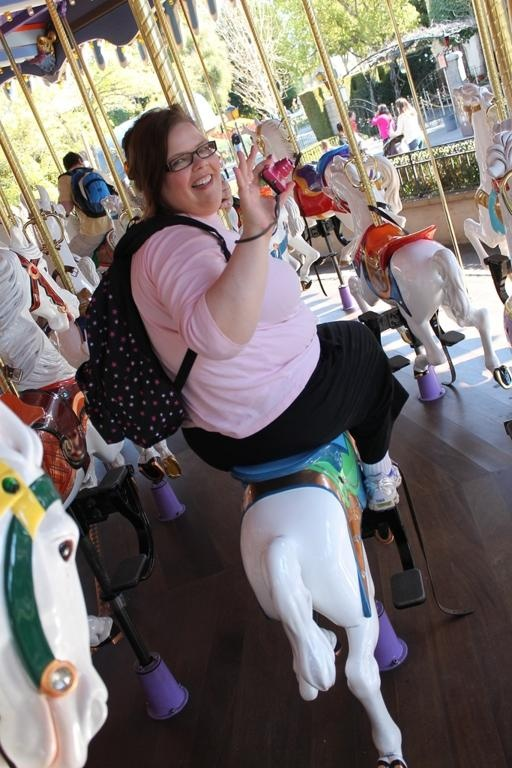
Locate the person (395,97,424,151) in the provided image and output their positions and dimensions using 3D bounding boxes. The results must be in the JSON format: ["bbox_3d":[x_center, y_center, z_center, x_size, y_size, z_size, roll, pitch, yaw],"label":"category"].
[{"bbox_3d":[3.867,-6.187,11.171,0.402,1.192,0.394,-30,58,3],"label":"person"}]

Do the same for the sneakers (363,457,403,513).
[{"bbox_3d":[0.473,0.356,1.795,0.131,0.143,0.334,-15,10,16],"label":"sneakers"}]

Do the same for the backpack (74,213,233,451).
[{"bbox_3d":[-0.321,-0.152,1.400,0.348,0.663,0.376,5,10,2],"label":"backpack"}]
